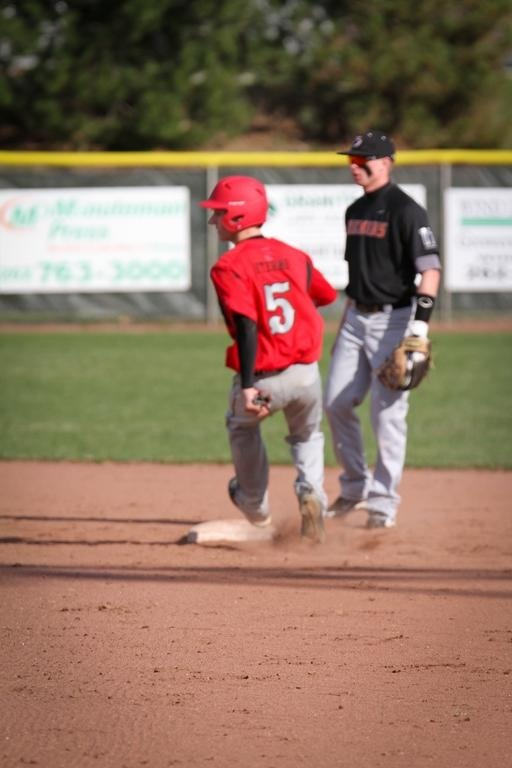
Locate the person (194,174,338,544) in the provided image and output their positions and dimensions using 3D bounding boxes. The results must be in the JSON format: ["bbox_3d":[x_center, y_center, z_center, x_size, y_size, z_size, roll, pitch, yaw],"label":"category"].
[{"bbox_3d":[0.043,-0.087,3.930,0.382,1.352,0.599,7,13,41],"label":"person"}]

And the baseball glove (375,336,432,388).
[{"bbox_3d":[0.582,-0.072,4.115,0.162,0.210,0.119,45,22,27],"label":"baseball glove"}]

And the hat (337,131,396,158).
[{"bbox_3d":[0.452,-0.958,4.290,0.202,0.084,0.114,3,8,-8],"label":"hat"}]

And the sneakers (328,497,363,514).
[{"bbox_3d":[0.377,0.527,4.601,0.192,0.065,0.061,-6,-17,-21],"label":"sneakers"}]

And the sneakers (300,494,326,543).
[{"bbox_3d":[0.219,0.501,3.991,0.084,0.184,0.086,-4,5,4],"label":"sneakers"}]

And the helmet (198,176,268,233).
[{"bbox_3d":[-0.084,-0.653,3.865,0.235,0.207,0.203,-1,9,1],"label":"helmet"}]
